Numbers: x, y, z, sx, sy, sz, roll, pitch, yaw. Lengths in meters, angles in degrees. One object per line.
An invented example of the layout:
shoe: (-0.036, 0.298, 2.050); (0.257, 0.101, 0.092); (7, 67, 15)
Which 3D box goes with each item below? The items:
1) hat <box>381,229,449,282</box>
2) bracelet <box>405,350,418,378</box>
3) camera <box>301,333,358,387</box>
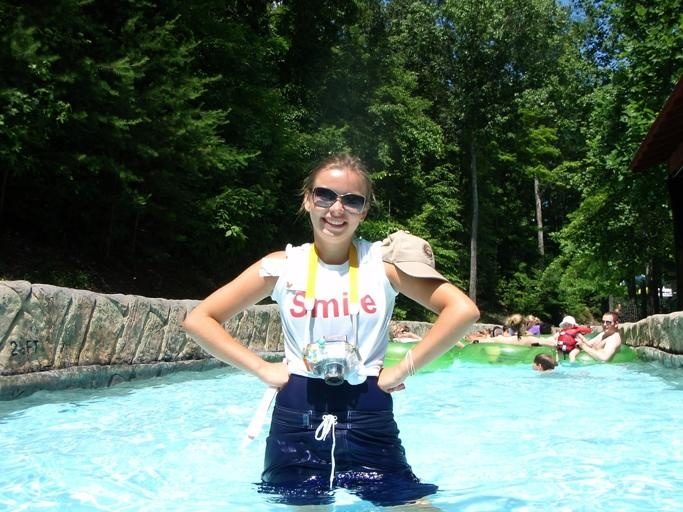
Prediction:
hat: (0.367, -0.001, 2.534); (0.312, 0.131, 0.211); (37, 23, 32)
bracelet: (0.325, 0.519, 2.440); (0.039, 0.102, 0.091); (4, 17, -3)
camera: (-0.042, 0.475, 2.362); (0.225, 0.232, 0.103); (2, -46, -10)
